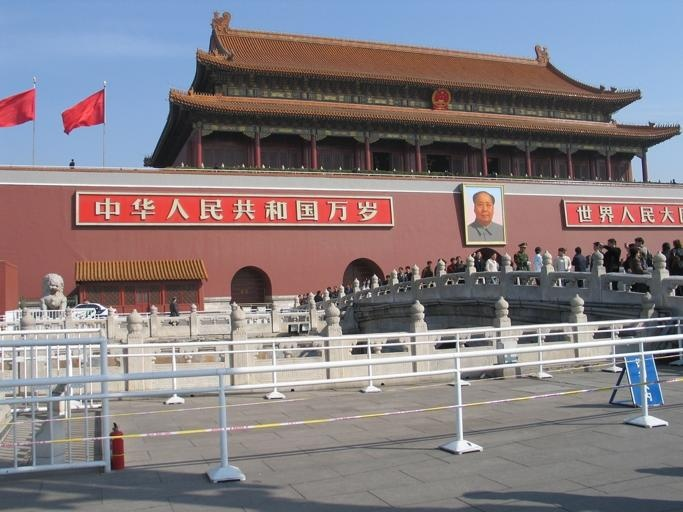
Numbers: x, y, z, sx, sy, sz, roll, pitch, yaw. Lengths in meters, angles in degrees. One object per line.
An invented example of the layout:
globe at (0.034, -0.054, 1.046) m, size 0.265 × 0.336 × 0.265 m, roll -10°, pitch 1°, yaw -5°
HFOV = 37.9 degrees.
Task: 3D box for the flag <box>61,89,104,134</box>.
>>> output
flag at (-8.097, -4.592, 31.572) m, size 1.243 × 1.482 × 0.647 m, roll 1°, pitch -8°, yaw -26°

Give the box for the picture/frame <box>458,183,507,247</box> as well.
picture/frame at (5.366, -1.543, 37.782) m, size 1.820 × 2.281 × 0.403 m, roll 0°, pitch -8°, yaw -23°
